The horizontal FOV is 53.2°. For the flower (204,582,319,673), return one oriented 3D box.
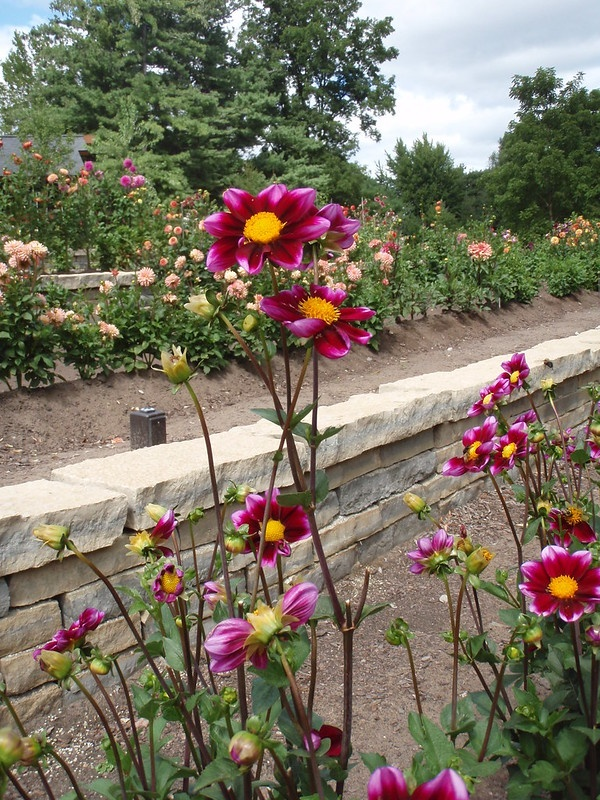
[{"bbox_3d":[-0.055,0.271,0.688,0.112,0.043,0.115,-29,10,45],"label":"flower"}]

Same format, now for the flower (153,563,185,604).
[{"bbox_3d":[-0.216,0.304,0.993,0.063,0.068,0.038,-4,9,-31],"label":"flower"}]

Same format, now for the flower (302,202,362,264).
[{"bbox_3d":[0.046,-0.233,0.847,0.083,0.081,0.038,33,9,31],"label":"flower"}]

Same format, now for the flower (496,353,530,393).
[{"bbox_3d":[0.588,-0.076,1.634,0.046,0.111,0.107,19,-8,-11],"label":"flower"}]

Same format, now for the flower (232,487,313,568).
[{"bbox_3d":[-0.038,0.212,1.021,0.152,0.140,0.092,-5,-35,-2],"label":"flower"}]

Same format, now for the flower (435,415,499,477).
[{"bbox_3d":[0.397,0.112,1.386,0.106,0.163,0.223,3,8,18],"label":"flower"}]

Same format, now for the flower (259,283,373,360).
[{"bbox_3d":[0.028,-0.105,0.792,0.157,0.047,0.168,14,10,41],"label":"flower"}]

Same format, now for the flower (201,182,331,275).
[{"bbox_3d":[-0.044,-0.218,0.762,0.159,0.117,0.088,1,8,2],"label":"flower"}]
